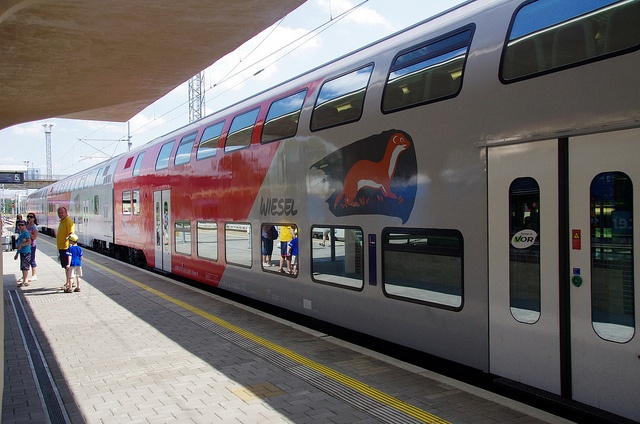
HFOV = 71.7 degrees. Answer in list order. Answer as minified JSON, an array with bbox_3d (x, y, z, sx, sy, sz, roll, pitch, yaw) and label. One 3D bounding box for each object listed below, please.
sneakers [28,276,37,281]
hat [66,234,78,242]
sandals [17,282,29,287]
[{"bbox_3d":[-8.554,1.968,13.089,0.376,0.157,0.130,1,1,40],"label":"sneakers"},{"bbox_3d":[-6.430,0.691,11.432,0.184,0.198,0.259,37,-23,-28],"label":"hat"},{"bbox_3d":[-8.264,2.012,12.255,0.122,0.147,0.340,-1,-7,29],"label":"sandals"}]
